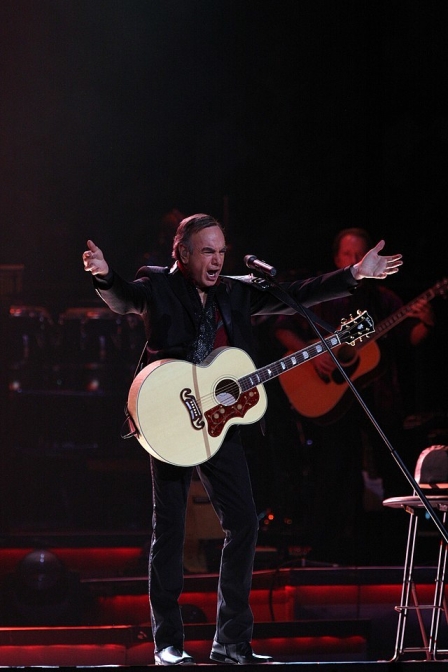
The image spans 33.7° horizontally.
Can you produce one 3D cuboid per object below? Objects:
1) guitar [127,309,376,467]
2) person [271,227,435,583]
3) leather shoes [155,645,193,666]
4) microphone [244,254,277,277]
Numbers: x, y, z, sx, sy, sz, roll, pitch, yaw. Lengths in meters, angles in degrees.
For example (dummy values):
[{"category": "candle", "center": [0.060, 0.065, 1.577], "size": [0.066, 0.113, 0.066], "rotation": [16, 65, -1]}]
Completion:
[{"category": "guitar", "center": [0.057, 0.211, 3.024], "size": [1.062, 0.362, 0.152], "rotation": [-23, -4, -21]}, {"category": "person", "center": [0.818, 0.436, 4.504], "size": [1.110, 1.919, 0.329], "rotation": [20, -14, -6]}, {"category": "leather shoes", "center": [-0.192, 1.223, 2.774], "size": [0.138, 0.074, 0.182], "rotation": [0, -2, -5]}, {"category": "microphone", "center": [0.139, -0.294, 3.112], "size": [0.073, 0.062, 0.206], "rotation": [-8, 27, -45]}]
